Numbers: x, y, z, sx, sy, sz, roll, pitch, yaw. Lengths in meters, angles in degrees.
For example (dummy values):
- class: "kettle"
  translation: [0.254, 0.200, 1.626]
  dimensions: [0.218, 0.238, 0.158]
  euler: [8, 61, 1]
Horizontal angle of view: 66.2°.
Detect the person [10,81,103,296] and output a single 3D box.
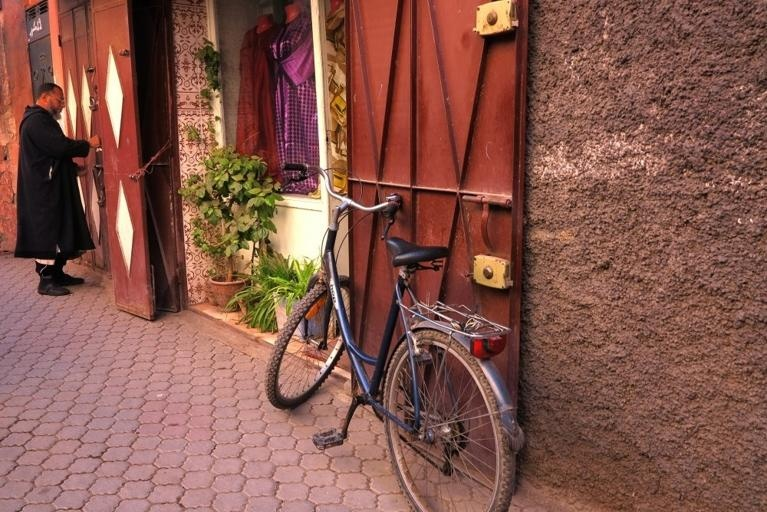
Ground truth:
- class: "person"
  translation: [-4.270, -0.825, 7.638]
  dimensions: [0.976, 2.770, 0.574]
  euler: [1, 12, -2]
